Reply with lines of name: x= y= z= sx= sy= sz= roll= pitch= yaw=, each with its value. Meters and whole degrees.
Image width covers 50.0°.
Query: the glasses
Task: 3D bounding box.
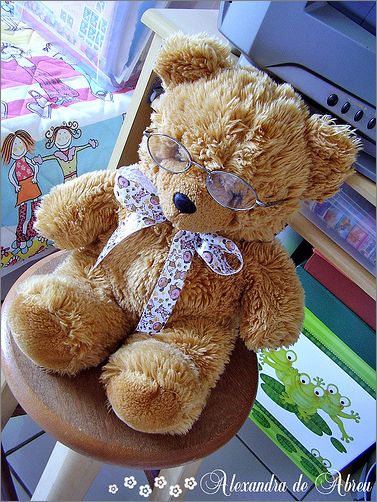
glasses: x=0.014 y=-0.081 z=0.457 sx=0.118 sy=0.035 sz=0.115 roll=31 pitch=19 yaw=-2
